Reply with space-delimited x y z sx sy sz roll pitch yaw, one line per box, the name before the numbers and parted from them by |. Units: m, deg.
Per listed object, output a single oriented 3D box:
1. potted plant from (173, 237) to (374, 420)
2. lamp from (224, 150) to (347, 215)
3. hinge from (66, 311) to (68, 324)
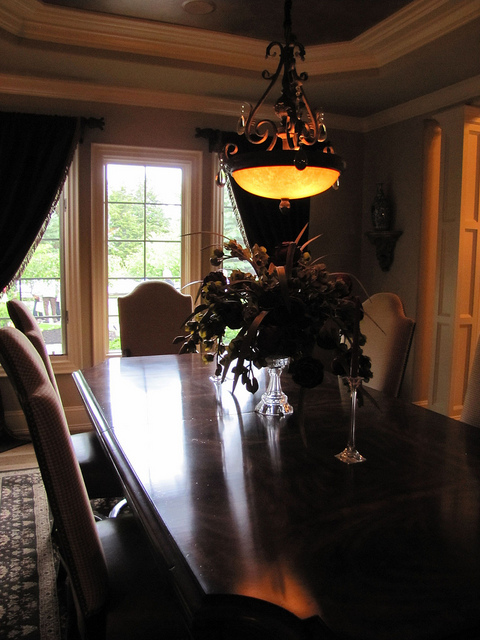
potted plant | 0.059 0.069 1.523 0.431 0.389 0.451 0 7 -22
lamp | 0.186 -0.520 2.004 0.433 0.205 0.522 -4 7 -37
hinge | -1.255 -0.031 3.797 0.015 0.084 0.087 -4 10 -26
